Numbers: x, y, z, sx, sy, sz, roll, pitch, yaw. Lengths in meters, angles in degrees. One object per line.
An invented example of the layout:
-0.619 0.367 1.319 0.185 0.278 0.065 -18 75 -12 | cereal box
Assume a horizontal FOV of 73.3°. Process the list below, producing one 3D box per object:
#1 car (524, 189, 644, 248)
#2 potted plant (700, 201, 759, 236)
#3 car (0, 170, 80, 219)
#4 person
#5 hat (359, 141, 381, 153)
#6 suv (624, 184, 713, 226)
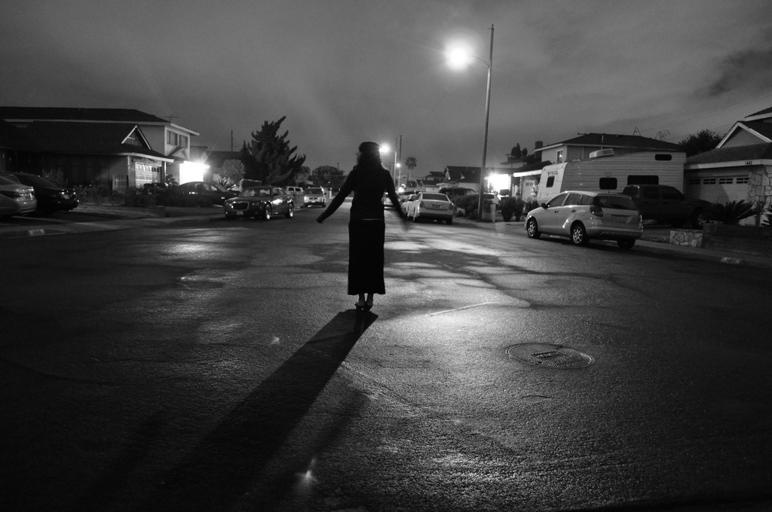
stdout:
7.785 -1.511 20.638 1.369 2.082 4.299 -3 9 -32 | car
14.923 -1.631 22.647 1.340 0.561 1.343 -11 -9 -28 | potted plant
-16.198 -2.886 24.302 1.633 1.964 2.789 3 8 17 | car
-0.296 -0.548 7.957 1.095 2.354 0.423 0 6 -6 | person
-0.261 -1.647 7.866 0.284 0.149 0.329 3 9 13 | hat
14.965 -2.478 28.334 5.171 2.439 2.607 -2 9 -3 | suv
